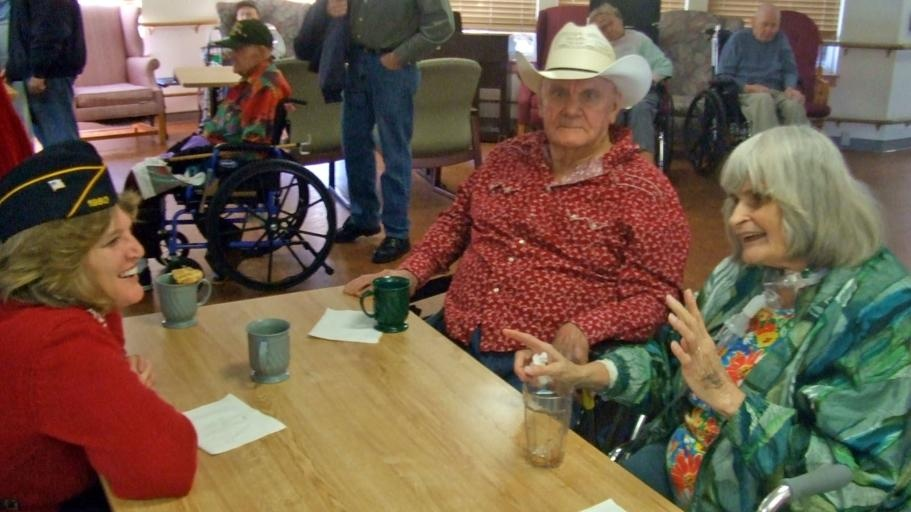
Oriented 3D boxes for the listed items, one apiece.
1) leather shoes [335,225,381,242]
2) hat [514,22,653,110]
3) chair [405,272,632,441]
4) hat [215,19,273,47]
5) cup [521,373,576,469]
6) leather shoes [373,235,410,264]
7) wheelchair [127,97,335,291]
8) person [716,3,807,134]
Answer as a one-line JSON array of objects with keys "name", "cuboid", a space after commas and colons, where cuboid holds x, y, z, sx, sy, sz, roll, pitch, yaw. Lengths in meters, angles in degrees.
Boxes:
[{"name": "leather shoes", "cuboid": [-0.726, -0.168, 4.913, 0.333, 0.133, 0.117, 0, 8, -12]}, {"name": "hat", "cuboid": [0.569, -0.771, 2.751, 0.442, 0.179, 0.456, 4, 2, 12]}, {"name": "chair", "cuboid": [0.229, 0.449, 2.584, 0.932, 0.677, 0.525, 7, 6, -37]}, {"name": "hat", "cuboid": [-1.311, -1.385, 4.107, 0.317, 0.143, 0.191, -2, 26, -19]}, {"name": "cup", "cuboid": [0.252, 0.457, 1.807, 0.125, 0.188, 0.140, -1, 18, 6]}, {"name": "leather shoes", "cuboid": [-0.437, -0.038, 4.504, 0.114, 0.120, 0.302, 8, 14, 33]}, {"name": "wheelchair", "cuboid": [-1.433, -0.411, 4.213, 1.452, 1.071, 0.965, 2, 11, -20]}, {"name": "person", "cuboid": [2.975, -1.837, 6.386, 0.796, 1.138, 0.659, -2, 18, 2]}]
